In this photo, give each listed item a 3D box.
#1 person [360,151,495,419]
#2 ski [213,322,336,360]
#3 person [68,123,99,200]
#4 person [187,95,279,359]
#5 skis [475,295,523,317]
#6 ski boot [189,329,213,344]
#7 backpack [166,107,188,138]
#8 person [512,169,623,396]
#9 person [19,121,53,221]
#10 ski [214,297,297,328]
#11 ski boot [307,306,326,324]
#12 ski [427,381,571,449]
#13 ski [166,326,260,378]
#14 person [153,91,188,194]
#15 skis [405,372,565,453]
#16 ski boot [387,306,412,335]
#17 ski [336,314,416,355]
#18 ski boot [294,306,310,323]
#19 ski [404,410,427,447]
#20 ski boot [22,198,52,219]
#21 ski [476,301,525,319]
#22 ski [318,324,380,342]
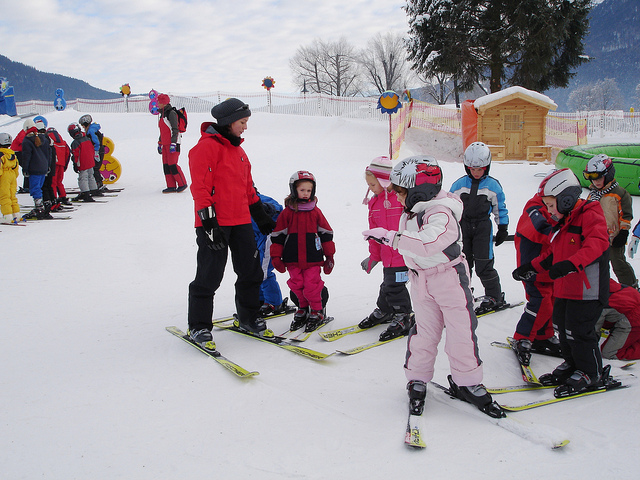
[{"bbox_3d":[1.001,0.299,4.702,1.058,2.093,1.312,0,12,10],"label":"person"},{"bbox_3d":[-0.480,1.070,5.559,0.143,0.080,1.373,-15,16,-40],"label":"ski"},{"bbox_3d":[-5.113,-1.712,11.490,0.471,1.534,0.346,-7,13,-23],"label":"person"},{"bbox_3d":[-0.960,-0.179,5.572,0.945,2.547,1.277,-3,12,-5],"label":"person"},{"bbox_3d":[2.119,0.797,6.301,0.451,0.170,0.133,-20,14,-18],"label":"skis"},{"bbox_3d":[-1.200,0.969,5.346,0.267,0.121,0.097,16,10,26],"label":"ski boot"},{"bbox_3d":[-3.189,-2.632,11.605,0.535,0.574,0.405,-4,15,-14],"label":"backpack"},{"bbox_3d":[2.324,0.318,4.801,0.814,1.904,1.074,3,13,22],"label":"person"},{"bbox_3d":[-5.481,-1.335,10.127,0.538,1.818,0.855,-6,13,-19],"label":"person"},{"bbox_3d":[-0.715,0.848,6.110,0.869,0.154,0.123,-15,44,-28],"label":"ski"},{"bbox_3d":[-0.039,0.854,5.974,0.226,0.137,0.186,-5,13,-12],"label":"ski boot"},{"bbox_3d":[1.441,1.441,4.310,0.143,0.052,1.003,-8,22,-34],"label":"ski"},{"bbox_3d":[-1.074,1.126,5.263,0.122,0.068,1.166,-12,20,-36],"label":"ski"},{"bbox_3d":[-3.222,-2.070,11.549,0.617,2.136,0.883,-5,13,-15],"label":"person"},{"bbox_3d":[1.328,1.427,4.319,0.237,0.143,1.328,-42,33,-20],"label":"skis"},{"bbox_3d":[0.889,0.883,5.743,0.144,0.298,0.424,-17,-6,34],"label":"ski boot"},{"bbox_3d":[0.565,1.042,5.540,0.889,0.095,0.158,-10,15,-31],"label":"ski"},{"bbox_3d":[-0.198,0.840,6.048,0.089,0.101,0.252,-4,-4,10],"label":"ski boot"},{"bbox_3d":[0.750,1.418,4.137,0.142,0.570,0.038,3,30,12],"label":"ski"},{"bbox_3d":[-5.411,-0.598,10.062,0.581,0.375,0.239,0,12,9],"label":"ski boot"},{"bbox_3d":[2.114,0.829,6.231,0.607,0.045,0.123,-16,20,-29],"label":"ski"},{"bbox_3d":[0.235,1.014,5.809,0.197,0.051,0.759,22,18,32],"label":"ski"}]
